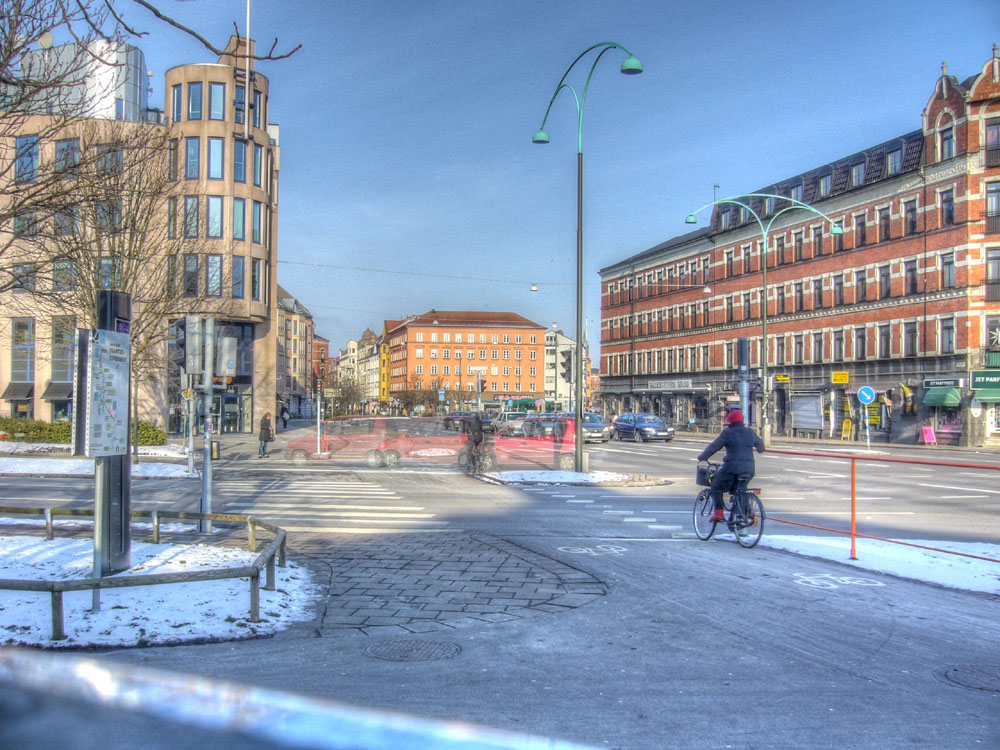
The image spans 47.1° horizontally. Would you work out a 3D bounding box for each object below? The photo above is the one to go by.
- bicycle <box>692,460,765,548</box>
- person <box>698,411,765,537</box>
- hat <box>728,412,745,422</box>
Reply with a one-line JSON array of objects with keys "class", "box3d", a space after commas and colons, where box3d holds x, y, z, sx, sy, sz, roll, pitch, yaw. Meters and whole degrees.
[{"class": "bicycle", "box3d": [3.773, 2.163, 18.175, 0.715, 0.995, 1.614, 3, 1, -17]}, {"class": "person", "box3d": [3.683, 1.450, 18.229, 1.018, 1.798, 0.905, 5, -5, -4]}, {"class": "hat", "box3d": [3.686, 0.669, 17.986, 0.173, 0.216, 0.202, 1, 5, -44]}]
